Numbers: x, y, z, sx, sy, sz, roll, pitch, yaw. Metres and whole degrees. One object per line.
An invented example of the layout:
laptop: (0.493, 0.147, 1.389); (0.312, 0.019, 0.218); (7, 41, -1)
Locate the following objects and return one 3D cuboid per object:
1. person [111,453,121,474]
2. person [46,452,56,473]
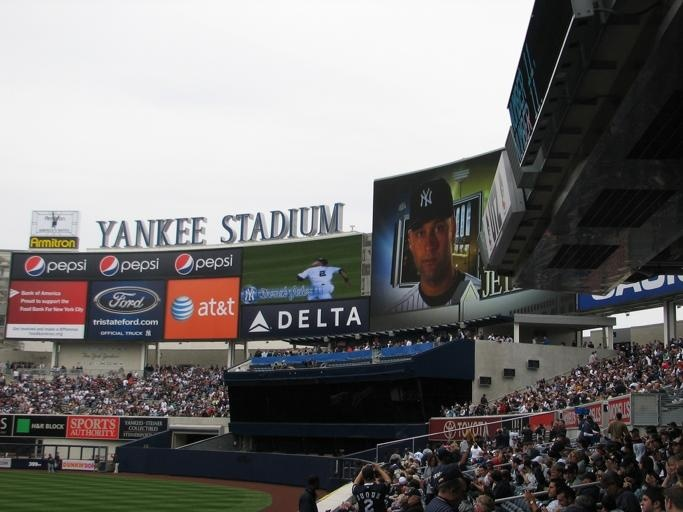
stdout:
person: (-13.449, 12.033, 52.769); (0.616, 1.131, 0.319); (-17, -24, 41)
person: (-17.169, 12.047, 52.609); (0.500, 0.999, 1.307); (5, -18, -16)
